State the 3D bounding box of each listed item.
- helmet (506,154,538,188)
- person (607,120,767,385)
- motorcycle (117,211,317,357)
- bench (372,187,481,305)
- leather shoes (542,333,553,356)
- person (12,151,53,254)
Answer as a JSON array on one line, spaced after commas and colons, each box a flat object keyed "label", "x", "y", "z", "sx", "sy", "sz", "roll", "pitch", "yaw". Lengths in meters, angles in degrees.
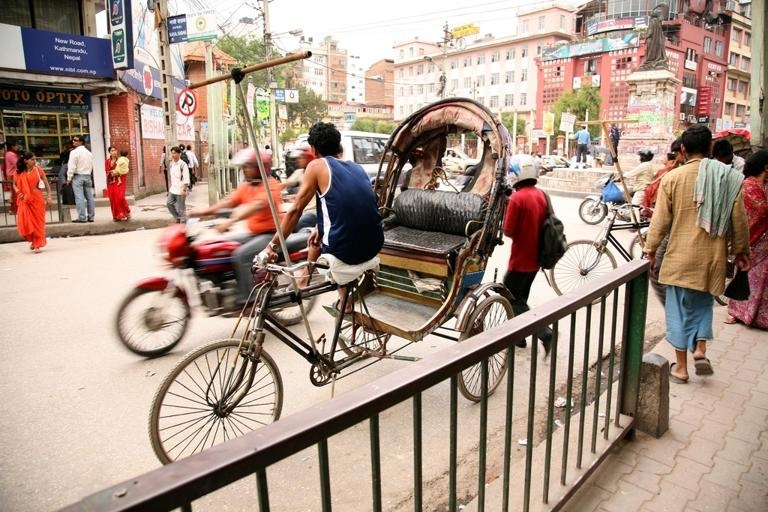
[{"label": "helmet", "x": 1.605, "y": -0.976, "z": 6.349, "sx": 0.324, "sy": 0.339, "sz": 0.413, "roll": 3, "pitch": 14, "yaw": 9}, {"label": "person", "x": 3.112, "y": -0.018, "z": 5.501, "sx": 0.970, "sy": 2.496, "sz": 0.598, "roll": 3, "pitch": 13, "yaw": 15}, {"label": "motorcycle", "x": -1.881, "y": 0.221, "z": 6.646, "sx": 2.618, "sy": 1.577, "sz": 1.141, "roll": -5, "pitch": 0, "yaw": -39}, {"label": "bench", "x": 0.470, "y": -0.281, "z": 6.220, "sx": 1.256, "sy": 0.874, "sz": 0.945, "roll": 10, "pitch": 19, "yaw": 31}, {"label": "leather shoes", "x": 1.834, "y": 1.002, "z": 6.189, "sx": 0.095, "sy": 0.285, "sz": 0.241, "roll": 4, "pitch": 14, "yaw": 21}, {"label": "person", "x": -7.159, "y": -1.086, "z": 11.119, "sx": 0.548, "sy": 1.938, "sz": 0.861, "roll": -9, "pitch": 15, "yaw": -32}]
